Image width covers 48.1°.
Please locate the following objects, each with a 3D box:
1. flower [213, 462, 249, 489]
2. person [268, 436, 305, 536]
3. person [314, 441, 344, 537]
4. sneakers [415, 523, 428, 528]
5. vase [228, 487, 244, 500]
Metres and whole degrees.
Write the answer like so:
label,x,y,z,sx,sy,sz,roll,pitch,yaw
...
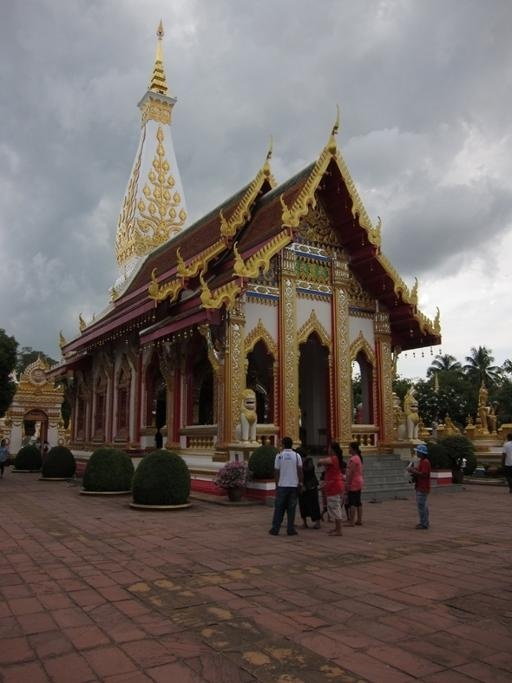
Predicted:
label,x,y,z,sx,sy,sz,roll,pitch,yaw
flower,-0.416,2.189,9.288,0.454,0.461,0.446,4,-22,-14
person,0.356,1.778,7.026,0.423,1.157,0.612,-3,-10,3
person,0.981,1.876,7.359,0.316,1.102,1.249,-3,-10,8
sneakers,2.064,2.318,7.115,0.169,0.067,0.060,18,-24,-27
vase,-0.344,2.531,9.429,0.254,0.245,0.365,-1,-9,-3
